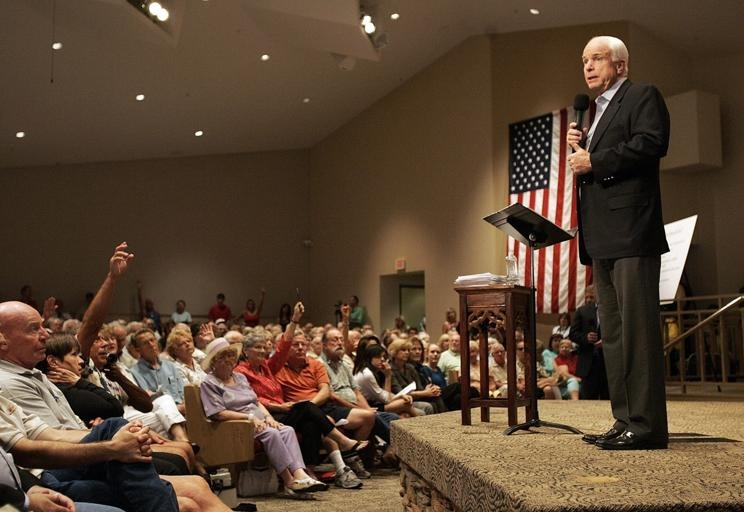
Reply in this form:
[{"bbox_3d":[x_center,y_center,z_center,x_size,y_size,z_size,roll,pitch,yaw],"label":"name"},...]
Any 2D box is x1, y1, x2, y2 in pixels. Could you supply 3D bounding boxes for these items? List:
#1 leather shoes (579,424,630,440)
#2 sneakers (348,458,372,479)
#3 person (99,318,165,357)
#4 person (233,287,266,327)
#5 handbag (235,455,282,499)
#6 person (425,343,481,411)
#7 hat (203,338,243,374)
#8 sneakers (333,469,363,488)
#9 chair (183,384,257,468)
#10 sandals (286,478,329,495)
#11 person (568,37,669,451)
[{"bbox_3d":[1.267,0.993,3.585,0.247,0.121,0.089,-6,-13,4],"label":"leather shoes"},{"bbox_3d":[-0.104,2.019,6.152,0.298,0.151,0.109,1,-9,20],"label":"sneakers"},{"bbox_3d":[-2.547,0.866,6.824,0.935,0.395,0.740,-5,-6,42],"label":"person"},{"bbox_3d":[-3.008,1.488,15.574,0.679,1.365,0.407,-3,-36,-5],"label":"person"},{"bbox_3d":[-1.019,1.932,5.622,0.327,0.347,0.135,9,-16,-39],"label":"handbag"},{"bbox_3d":[0.923,1.427,7.503,0.597,0.912,0.577,-7,-12,36],"label":"person"},{"bbox_3d":[-1.401,0.827,5.774,0.289,0.120,0.313,-24,-22,-23],"label":"hat"},{"bbox_3d":[-0.247,2.022,5.864,0.234,0.129,0.122,-9,-13,38],"label":"sneakers"},{"bbox_3d":[-1.287,1.462,5.670,0.582,0.865,0.570,-2,-9,-5],"label":"chair"},{"bbox_3d":[-0.567,1.955,5.518,0.241,0.100,0.144,-2,-43,5],"label":"sandals"},{"bbox_3d":[1.334,-0.105,3.566,0.547,2.285,0.341,2,2,29],"label":"person"}]
